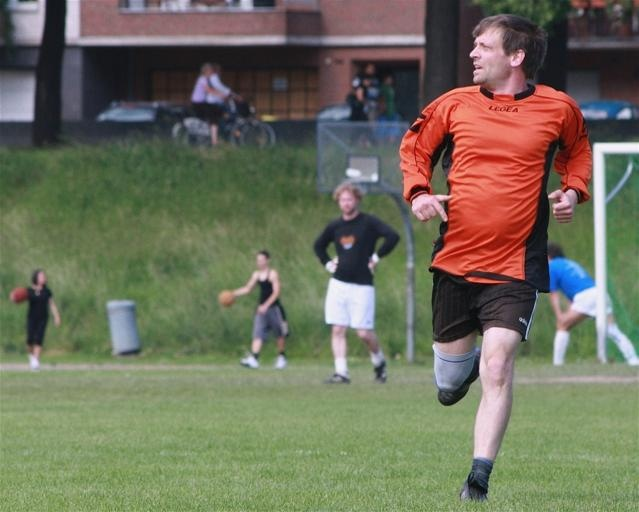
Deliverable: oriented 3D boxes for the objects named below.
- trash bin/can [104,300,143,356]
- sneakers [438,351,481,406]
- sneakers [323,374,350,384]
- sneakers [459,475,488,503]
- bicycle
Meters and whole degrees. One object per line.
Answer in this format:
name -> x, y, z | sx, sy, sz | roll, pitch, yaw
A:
trash bin/can -> -1.195, 0.402, 10.696 | 0.226, 0.336, 0.243 | 5, 18, 30
sneakers -> 0.860, 0.817, 11.328 | 0.173, 0.245, 0.498 | 1, 2, 18
sneakers -> 0.100, 0.763, 10.818 | 0.150, 0.069, 0.056 | 13, -15, -38
sneakers -> 0.917, 1.364, 10.515 | 0.167, 0.154, 0.129 | -7, 2, 1
bicycle -> -0.571, -0.754, 10.680 | 0.563, 0.332, 0.246 | -1, 4, 0
